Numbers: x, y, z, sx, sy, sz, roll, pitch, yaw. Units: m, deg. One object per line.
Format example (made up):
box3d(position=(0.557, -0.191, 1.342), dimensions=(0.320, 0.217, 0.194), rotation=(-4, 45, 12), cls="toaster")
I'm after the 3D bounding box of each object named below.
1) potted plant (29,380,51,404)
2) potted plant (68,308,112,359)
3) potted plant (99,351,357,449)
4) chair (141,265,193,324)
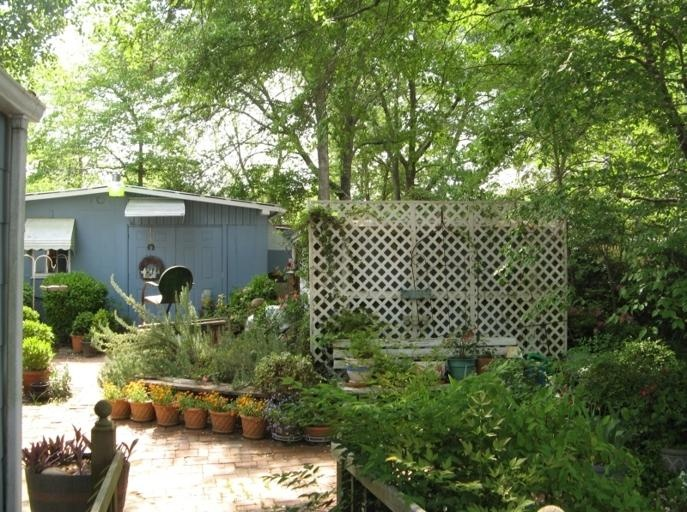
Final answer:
box3d(position=(-3.922, 1.732, 8.576), dimensions=(0.225, 0.266, 0.229), rotation=(6, 3, 37), cls="potted plant")
box3d(position=(-4.381, 1.324, 11.427), dimensions=(0.599, 0.760, 0.594), rotation=(2, -14, 0), cls="potted plant")
box3d(position=(-0.798, 1.403, 6.894), dimensions=(1.886, 0.700, 1.480), rotation=(12, -14, -39), cls="potted plant")
box3d(position=(-2.482, 0.471, 9.450), dimensions=(0.558, 0.685, 1.069), rotation=(3, -9, -33), cls="chair")
